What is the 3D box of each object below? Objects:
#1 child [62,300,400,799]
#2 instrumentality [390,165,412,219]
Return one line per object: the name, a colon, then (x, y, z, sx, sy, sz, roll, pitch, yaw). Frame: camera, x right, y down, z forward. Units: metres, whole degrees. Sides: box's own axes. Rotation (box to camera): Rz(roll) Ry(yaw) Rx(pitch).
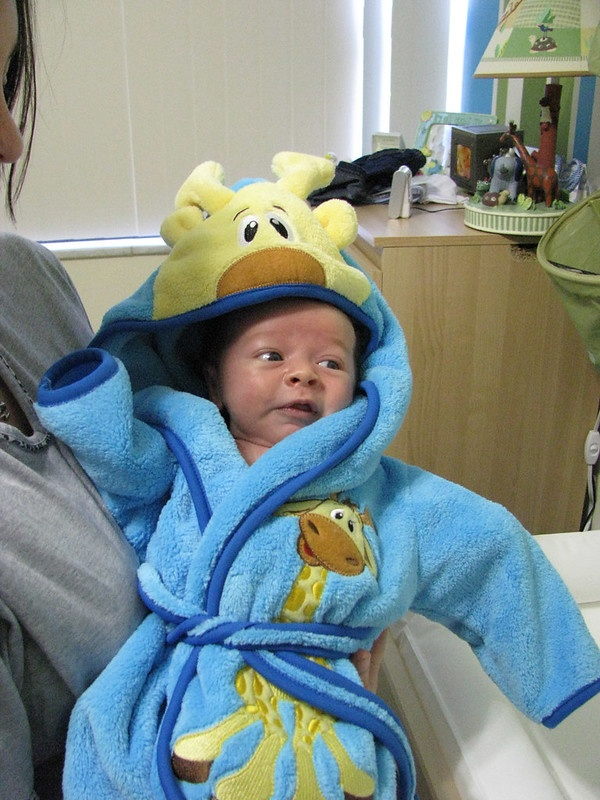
child: (-0.043, 0.062, 0.618, 0.383, 0.391, 0.121, -1, -3, 6)
instrumentality: (0.261, -0.521, 1.742, 0.053, 0.118, 0.090, 8, 19, 12)
